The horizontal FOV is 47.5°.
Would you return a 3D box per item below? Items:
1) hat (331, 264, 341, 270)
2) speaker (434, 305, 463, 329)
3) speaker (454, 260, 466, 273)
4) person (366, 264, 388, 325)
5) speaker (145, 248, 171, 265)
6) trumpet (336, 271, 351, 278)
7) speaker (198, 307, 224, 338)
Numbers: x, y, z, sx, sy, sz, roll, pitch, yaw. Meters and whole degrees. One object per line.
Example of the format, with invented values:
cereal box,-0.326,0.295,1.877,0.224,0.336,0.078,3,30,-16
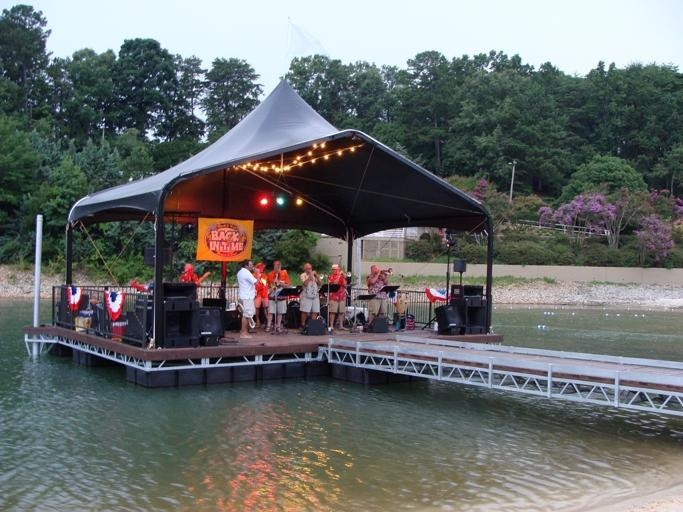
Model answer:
hat,-0.190,0.323,24.240,0.393,0.202,0.565,0,-3,4
speaker,2.806,1.575,20.108,0.282,0.516,0.531,-30,-14,35
speaker,3.206,0.268,20.978,0.331,0.335,0.332,0,-1,9
person,0.984,1.084,21.367,0.566,1.679,1.371,1,5,2
speaker,-4.131,-0.001,17.323,0.412,0.332,0.428,0,1,-22
trumpet,0.053,0.504,21.336,0.356,0.131,0.144,13,12,-21
speaker,-3.028,1.566,17.853,0.666,0.666,0.548,5,-14,-29
